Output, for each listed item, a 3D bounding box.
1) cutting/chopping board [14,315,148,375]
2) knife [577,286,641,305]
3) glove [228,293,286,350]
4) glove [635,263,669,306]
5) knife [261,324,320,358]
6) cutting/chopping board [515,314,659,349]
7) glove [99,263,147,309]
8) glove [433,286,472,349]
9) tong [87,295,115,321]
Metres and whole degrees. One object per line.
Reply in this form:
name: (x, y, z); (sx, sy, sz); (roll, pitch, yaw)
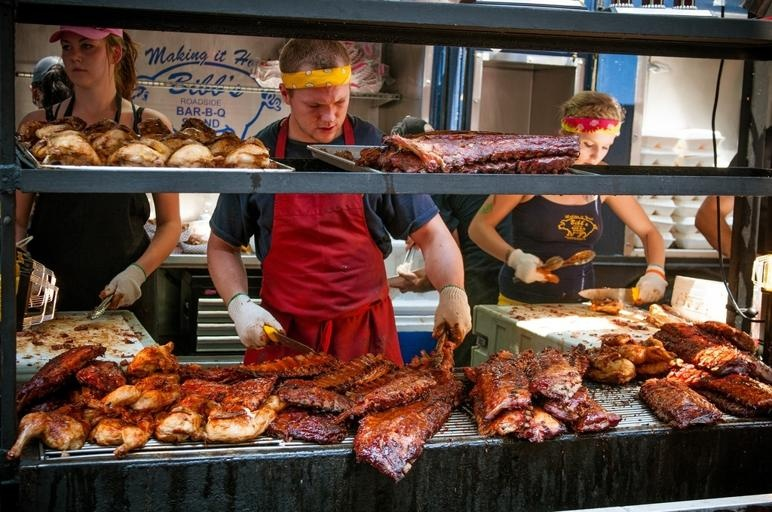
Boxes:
cutting/chopping board: (-1.752, 0.494, 4.503); (0.713, 0.309, 0.950); (0, -2, -25)
knife: (1.731, 0.310, 5.854); (0.685, 0.132, 0.343); (1, -3, -41)
glove: (-0.727, 0.350, 4.269); (0.230, 0.135, 0.402); (-20, 43, -32)
glove: (2.057, 0.218, 6.021); (0.190, 0.307, 0.300); (-2, -3, 29)
knife: (-0.539, 0.475, 4.321); (0.439, 0.078, 0.050); (27, 28, 24)
cutting/chopping board: (1.237, 0.490, 5.084); (0.399, 0.097, 0.420); (-5, 10, -22)
glove: (-1.605, 0.184, 4.761); (0.185, 0.322, 0.107); (35, -35, 0)
glove: (0.355, 0.319, 4.251); (0.196, 0.321, 0.387); (-1, -3, 6)
tong: (-1.740, 0.314, 4.738); (0.123, 0.097, 0.380); (-9, -2, 1)
